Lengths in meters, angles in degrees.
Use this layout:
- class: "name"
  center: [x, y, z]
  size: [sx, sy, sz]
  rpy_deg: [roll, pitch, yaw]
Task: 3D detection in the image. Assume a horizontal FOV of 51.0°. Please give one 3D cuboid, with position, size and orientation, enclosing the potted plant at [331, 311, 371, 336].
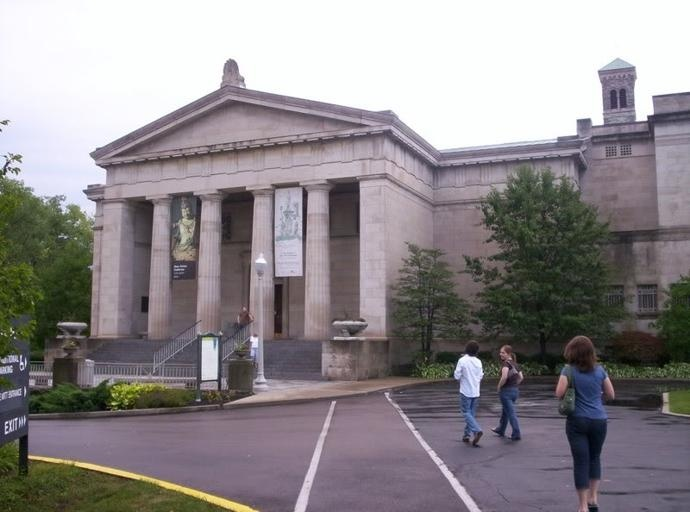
- class: "potted plant"
  center: [0.120, 3.371, 36.017]
  size: [1.199, 0.871, 1.710]
  rpy_deg: [3, -7, -27]

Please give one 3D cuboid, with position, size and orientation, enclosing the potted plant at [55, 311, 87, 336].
- class: "potted plant"
  center: [-17.453, 4.199, 45.651]
  size: [1.959, 1.349, 1.977]
  rpy_deg: [0, -3, 13]

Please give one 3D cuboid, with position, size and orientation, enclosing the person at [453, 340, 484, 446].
- class: "person"
  center: [2.824, 3.078, 16.506]
  size: [0.605, 2.270, 1.106]
  rpy_deg: [-1, -7, 10]

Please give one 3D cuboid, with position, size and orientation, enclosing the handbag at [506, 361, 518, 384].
- class: "handbag"
  center: [3.834, 2.708, 16.673]
  size: [0.200, 0.529, 0.549]
  rpy_deg: [-5, -9, 37]

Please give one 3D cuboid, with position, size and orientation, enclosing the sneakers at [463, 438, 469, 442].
- class: "sneakers"
  center: [2.733, 4.152, 16.310]
  size: [0.085, 0.101, 0.145]
  rpy_deg: [-1, -15, -2]

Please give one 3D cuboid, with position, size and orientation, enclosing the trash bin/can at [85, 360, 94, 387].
- class: "trash bin/can"
  center: [-10.270, 4.661, 28.946]
  size: [0.357, 0.997, 0.539]
  rpy_deg: [3, -8, -28]

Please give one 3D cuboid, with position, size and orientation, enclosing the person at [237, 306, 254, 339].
- class: "person"
  center: [-5.409, 3.568, 39.111]
  size: [0.871, 1.561, 2.178]
  rpy_deg: [1, -7, -8]

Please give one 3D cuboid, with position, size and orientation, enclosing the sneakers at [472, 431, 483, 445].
- class: "sneakers"
  center: [2.908, 3.981, 15.850]
  size: [0.145, 0.445, 0.180]
  rpy_deg: [7, 12, -9]

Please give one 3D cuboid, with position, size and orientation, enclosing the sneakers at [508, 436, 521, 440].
- class: "sneakers"
  center: [3.877, 4.146, 16.563]
  size: [0.089, 0.117, 0.265]
  rpy_deg: [2, -2, -24]
